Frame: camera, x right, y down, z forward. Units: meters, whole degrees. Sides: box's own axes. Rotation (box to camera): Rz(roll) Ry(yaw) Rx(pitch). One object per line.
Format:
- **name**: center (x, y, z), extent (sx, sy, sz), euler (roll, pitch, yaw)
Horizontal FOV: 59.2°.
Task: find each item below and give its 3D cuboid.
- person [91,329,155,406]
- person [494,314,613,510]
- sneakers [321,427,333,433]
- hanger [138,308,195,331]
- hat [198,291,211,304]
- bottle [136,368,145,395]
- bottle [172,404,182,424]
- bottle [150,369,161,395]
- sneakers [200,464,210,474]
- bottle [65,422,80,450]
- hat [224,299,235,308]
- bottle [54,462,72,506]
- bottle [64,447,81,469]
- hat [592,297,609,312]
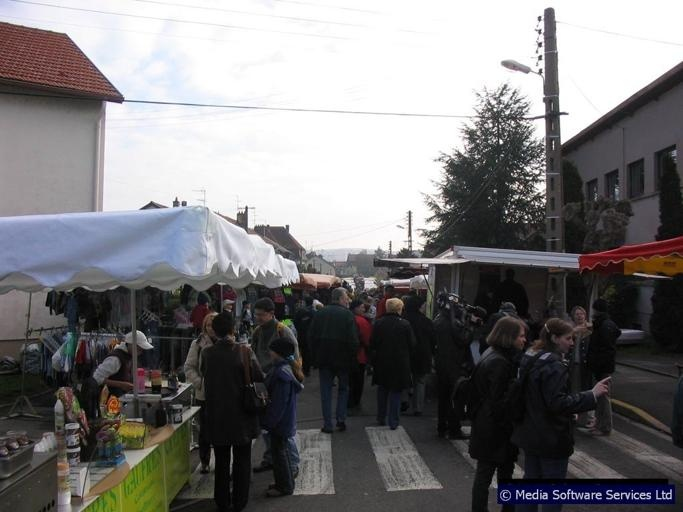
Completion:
- **person**: center (-2.971, 1.436, 8.155), extent (0.706, 0.894, 1.163), euler (-2, -2, -11)
- **person**: center (2.242, 1.547, 6.434), extent (0.810, 1.701, 0.360), euler (-2, -1, 18)
- **sneakers**: center (-0.244, 2.866, 9.922), extent (0.186, 0.077, 0.129), euler (-2, -2, 0)
- **hanger**: center (-4.071, 1.479, 13.943), extent (0.977, 0.387, 0.588), euler (0, 2, -14)
- **hat**: center (-3.233, 0.989, 14.006), extent (0.229, 0.267, 0.282), euler (-1, 0, 26)
- **bottle**: center (-2.618, 1.634, 7.872), extent (0.070, 0.291, 0.133), euler (-2, -1, -9)
- **bottle**: center (-2.095, 2.018, 7.650), extent (0.157, 0.196, 0.194), euler (2, -6, -15)
- **bottle**: center (-2.486, 1.693, 8.086), extent (0.123, 0.284, 0.379), euler (-1, -2, -19)
- **sneakers**: center (-1.935, 3.022, 8.525), extent (0.071, 0.089, 0.202), euler (2, -1, 3)
- **bottle**: center (-2.751, 1.838, 6.154), extent (0.121, 0.257, 0.114), euler (-2, -1, 0)
- **hat**: center (-2.542, 1.070, 13.556), extent (0.274, 0.193, 0.268), euler (6, -2, -21)
- **bottle**: center (-2.681, 2.210, 5.824), extent (0.118, 0.401, 0.232), euler (-1, -1, -25)
- **bottle**: center (-2.751, 2.076, 6.185), extent (0.160, 0.166, 0.166), euler (1, -6, -16)
- **hat**: center (4.253, 0.799, 9.898), extent (0.223, 0.258, 0.264), euler (7, 11, 13)
